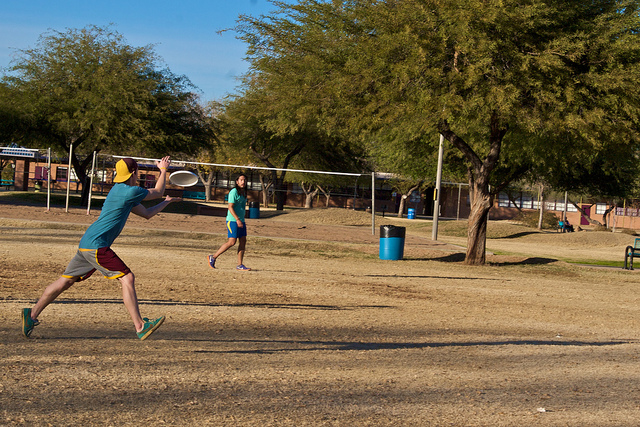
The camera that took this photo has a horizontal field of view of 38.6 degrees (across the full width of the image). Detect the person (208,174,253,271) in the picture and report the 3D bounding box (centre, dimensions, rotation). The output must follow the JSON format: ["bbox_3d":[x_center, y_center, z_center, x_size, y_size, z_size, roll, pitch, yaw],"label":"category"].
[{"bbox_3d":[-2.622,0.292,28.313,1.167,3.071,1.128,4,14,-4],"label":"person"}]
